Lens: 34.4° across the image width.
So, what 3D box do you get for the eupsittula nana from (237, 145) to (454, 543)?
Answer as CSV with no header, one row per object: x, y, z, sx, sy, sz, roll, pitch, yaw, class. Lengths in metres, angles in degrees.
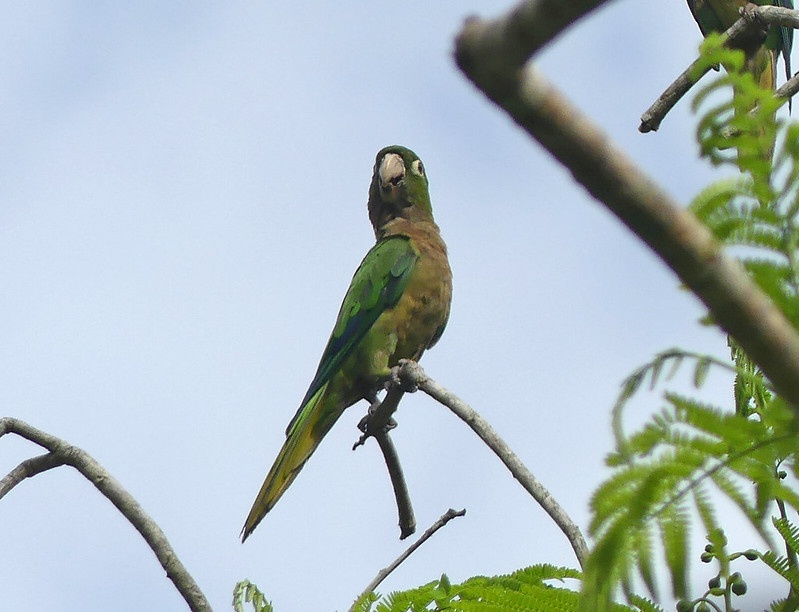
-0.083,0.146,4.421,0.308,1.117,0.936,23,-60,-29,eupsittula nana
